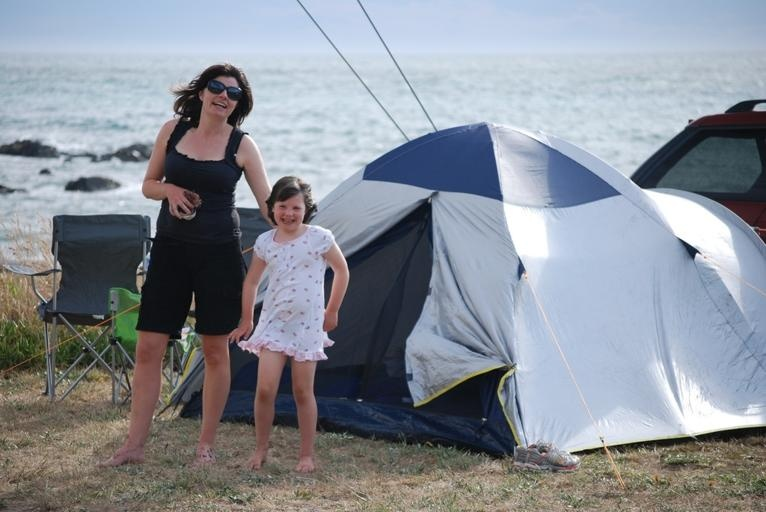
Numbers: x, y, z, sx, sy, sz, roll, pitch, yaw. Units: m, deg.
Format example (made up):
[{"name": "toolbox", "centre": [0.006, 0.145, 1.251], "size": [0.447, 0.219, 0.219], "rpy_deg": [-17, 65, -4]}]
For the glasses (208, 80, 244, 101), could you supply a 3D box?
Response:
[{"name": "glasses", "centre": [-1.739, -1.806, 12.617], "size": [0.392, 0.198, 0.104], "rpy_deg": [4, 13, -12]}]
